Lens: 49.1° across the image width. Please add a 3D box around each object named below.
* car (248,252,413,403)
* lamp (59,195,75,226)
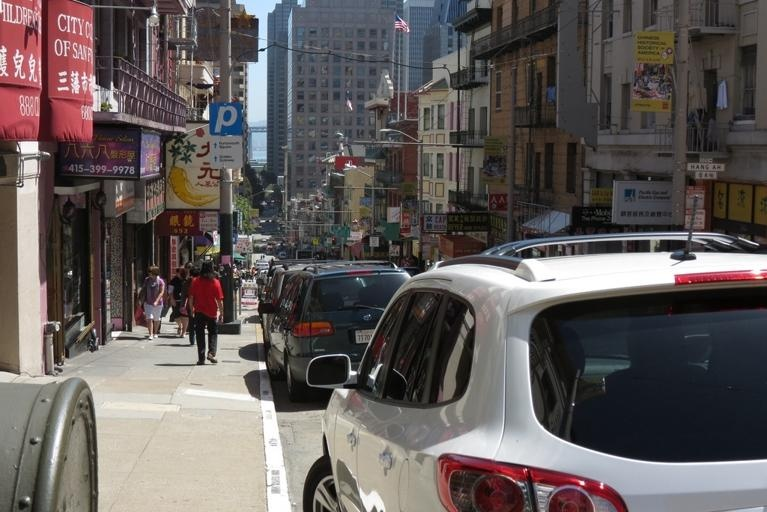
[{"bbox_3d":[-1.017,1.046,13.787,1.515,1.377,2.662,-1,6,-12],"label":"car"},{"bbox_3d":[-6.157,-0.899,16.199,0.265,0.508,0.547,-9,3,-21],"label":"lamp"}]
